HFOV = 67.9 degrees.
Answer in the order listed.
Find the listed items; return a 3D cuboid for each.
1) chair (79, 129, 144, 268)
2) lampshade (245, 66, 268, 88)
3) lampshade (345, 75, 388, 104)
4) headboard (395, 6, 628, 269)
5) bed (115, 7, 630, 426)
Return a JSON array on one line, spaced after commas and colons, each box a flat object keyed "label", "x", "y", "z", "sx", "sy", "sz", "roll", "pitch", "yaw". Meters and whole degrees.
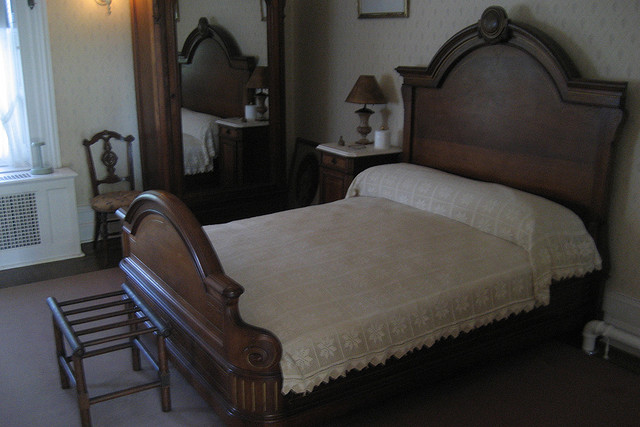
[{"label": "chair", "x": -2.094, "y": -0.152, "z": 4.912, "sx": 0.541, "sy": 1.279, "sz": 0.592, "roll": 22, "pitch": 26, "yaw": 37}, {"label": "lampshade", "x": -0.671, "y": -1.432, "z": 5.059, "sx": 0.224, "sy": 0.145, "sz": 0.207, "roll": -15, "pitch": 25, "yaw": -39}, {"label": "lampshade", "x": 0.448, "y": -1.203, "z": 4.703, "sx": 0.421, "sy": 0.304, "sz": 0.433, "roll": -5, "pitch": 19, "yaw": -18}, {"label": "headboard", "x": 1.482, "y": -0.544, "z": 3.554, "sx": 0.187, "sy": 1.891, "sz": 1.697, "roll": -15, "pitch": 24, "yaw": -32}, {"label": "bed", "x": 0.477, "y": 0.019, "z": 3.747, "sx": 3.226, "sy": 2.514, "sz": 2.784, "roll": -14, "pitch": 26, "yaw": -28}]
